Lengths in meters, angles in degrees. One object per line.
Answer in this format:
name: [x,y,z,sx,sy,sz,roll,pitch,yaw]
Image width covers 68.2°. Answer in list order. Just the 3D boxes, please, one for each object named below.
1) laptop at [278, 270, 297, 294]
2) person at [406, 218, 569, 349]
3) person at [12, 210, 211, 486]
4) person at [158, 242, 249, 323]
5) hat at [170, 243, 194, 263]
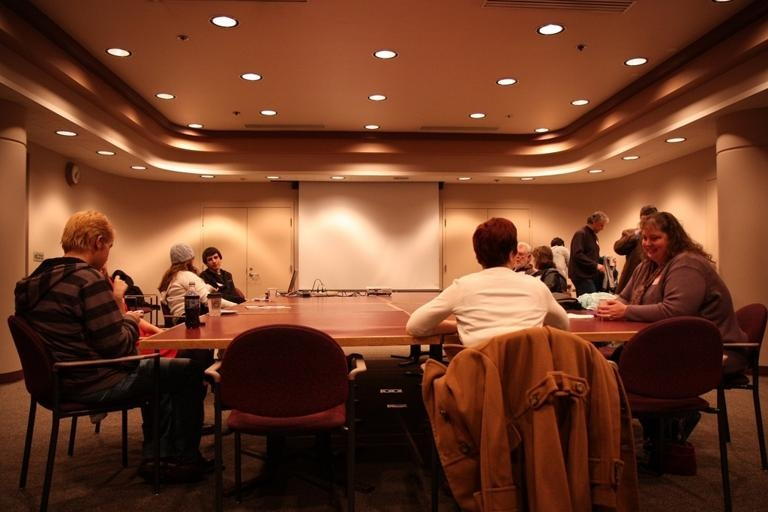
laptop: [-1.612,0.433,9.461,0.231,0.251,0.365,7,-1,6]
person: [0.716,0.270,3.878,1.108,1.002,0.642,0,-1,-3]
person: [-1.962,0.715,4.265,0.817,1.995,1.420,-8,-9,43]
person: [-2.035,0.407,5.931,0.586,1.043,0.464,2,12,-6]
hat: [-2.081,-0.038,5.855,0.205,0.171,0.206,0,4,-7]
